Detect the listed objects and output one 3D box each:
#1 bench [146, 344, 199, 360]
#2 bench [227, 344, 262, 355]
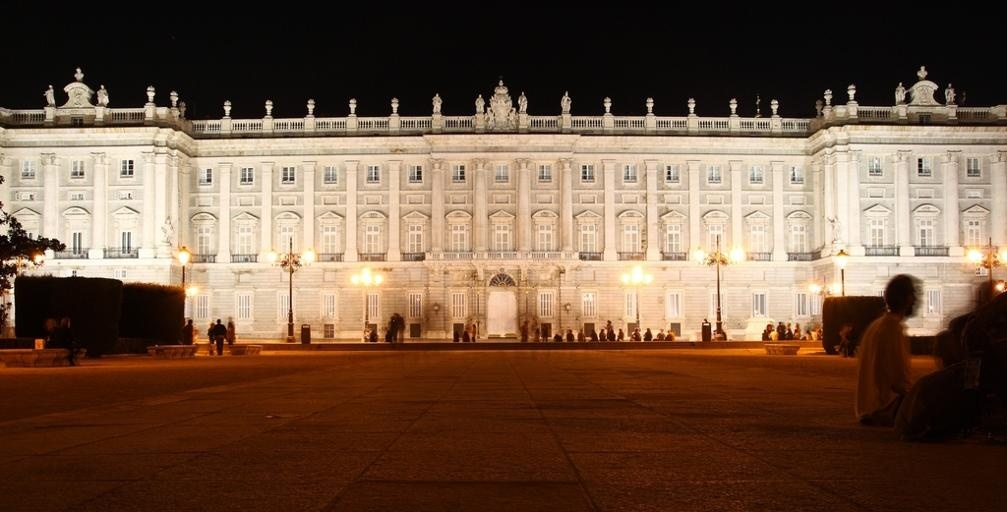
[{"bbox_3d":[-20.665,5.891,83.138,1.866,1.120,2.874,5,11,21],"label":"bench"},{"bbox_3d":[-17.246,6.122,88.072,2.013,0.619,1.014,0,11,-3],"label":"bench"}]
